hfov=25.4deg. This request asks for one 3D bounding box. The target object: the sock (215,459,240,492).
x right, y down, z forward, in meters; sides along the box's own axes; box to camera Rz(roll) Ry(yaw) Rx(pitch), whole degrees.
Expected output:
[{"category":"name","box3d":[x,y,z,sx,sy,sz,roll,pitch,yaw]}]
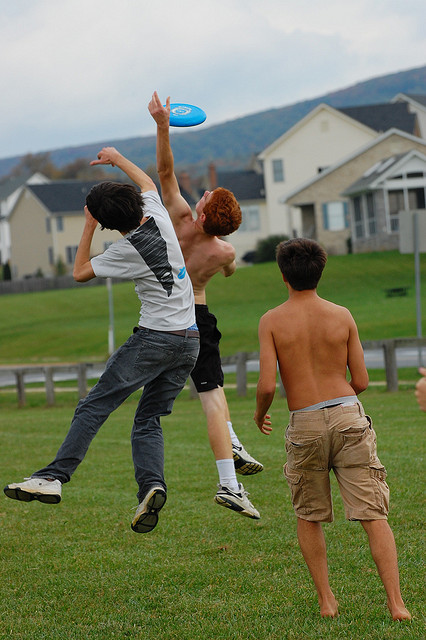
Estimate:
[{"category":"sock","box3d":[0.095,1.069,6.542,0.131,0.139,0.242,-6,3,-2]}]

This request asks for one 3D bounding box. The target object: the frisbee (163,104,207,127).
[{"category":"frisbee","box3d":[-0.193,-1.484,6.747,0.227,0.203,0.410,-6,3,2]}]

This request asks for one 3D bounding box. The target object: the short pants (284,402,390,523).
[{"category":"short pants","box3d":[0.676,0.830,5.465,0.569,0.685,0.317,-6,4,5]}]

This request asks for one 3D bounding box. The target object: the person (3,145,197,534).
[{"category":"person","box3d":[-0.628,0.188,6.093,1.115,1.674,0.585,-8,4,-13]}]

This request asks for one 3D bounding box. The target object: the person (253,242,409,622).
[{"category":"person","box3d":[0.607,0.620,5.439,0.638,2.152,0.602,-7,4,0]}]
